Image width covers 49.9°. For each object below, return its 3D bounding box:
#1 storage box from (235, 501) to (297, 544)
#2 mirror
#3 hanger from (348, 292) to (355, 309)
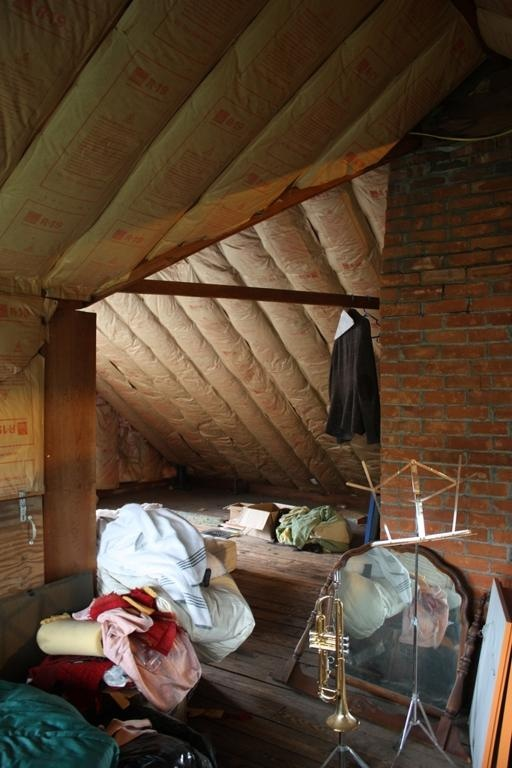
[{"bbox_3d":[0.055,1.229,4.943,0.406,0.270,0.365,1,0,26],"label":"storage box"},{"bbox_3d":[0.587,0.974,2.339,0.696,0.676,0.571,6,4,18],"label":"mirror"},{"bbox_3d":[0.539,-0.465,3.103,0.030,0.064,0.095,0,0,11],"label":"hanger"}]
